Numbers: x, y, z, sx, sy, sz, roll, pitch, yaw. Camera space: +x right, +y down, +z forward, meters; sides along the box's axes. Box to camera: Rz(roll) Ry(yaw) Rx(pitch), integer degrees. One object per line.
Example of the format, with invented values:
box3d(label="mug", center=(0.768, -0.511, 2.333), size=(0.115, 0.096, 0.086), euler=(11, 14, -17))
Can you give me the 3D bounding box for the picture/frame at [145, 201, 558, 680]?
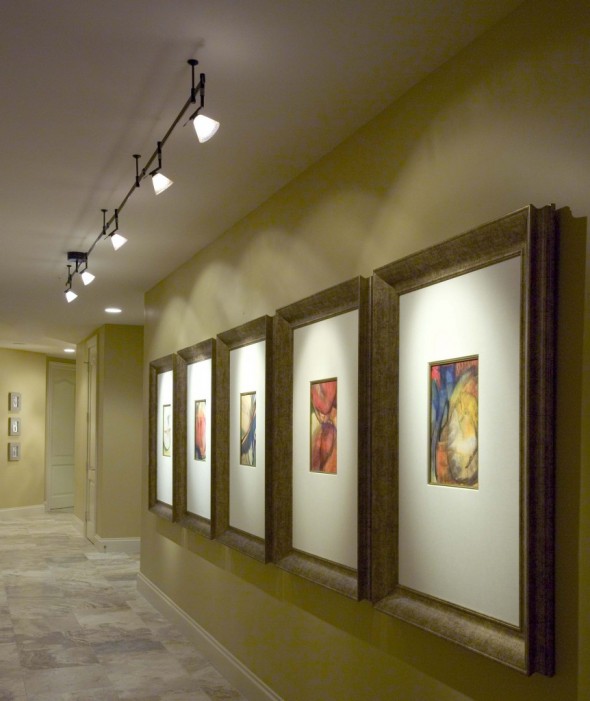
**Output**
box3d(label="picture/frame", center=(0.325, 0.289, 1.925), size=(0.123, 1.285, 1.463), euler=(3, -9, -26))
